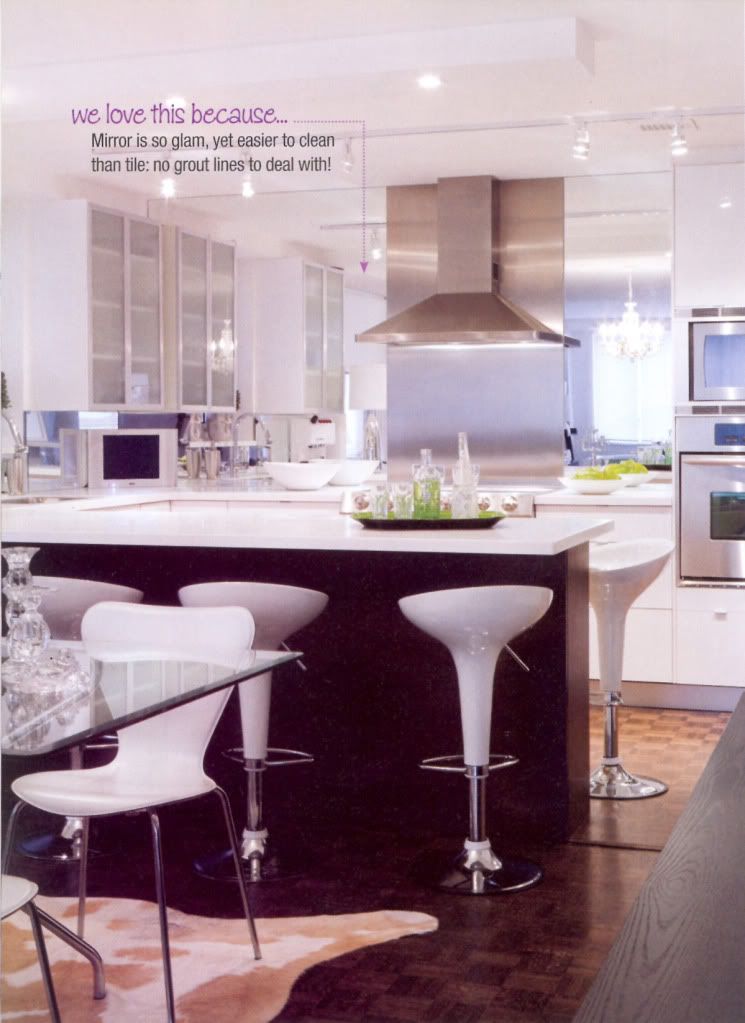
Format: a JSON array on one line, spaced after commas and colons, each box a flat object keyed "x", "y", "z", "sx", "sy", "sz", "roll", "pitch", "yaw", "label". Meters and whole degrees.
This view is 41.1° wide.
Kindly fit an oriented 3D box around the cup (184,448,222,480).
[{"x": -1.159, "y": -0.313, "z": 6.788, "sx": 0.202, "sy": 0.255, "sz": 0.244, "roll": -1, "pitch": -4, "yaw": 43, "label": "cup"}]

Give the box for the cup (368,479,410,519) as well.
[{"x": 0.058, "y": -0.032, "z": 3.299, "sx": 0.135, "sy": 0.103, "sz": 0.275, "roll": -1, "pitch": 3, "yaw": 0, "label": "cup"}]

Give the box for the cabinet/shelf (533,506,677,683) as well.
[{"x": 1.335, "y": 0.525, "z": 5.225, "sx": 0.554, "sy": 0.778, "sz": 0.515, "roll": -3, "pitch": -13, "yaw": 24, "label": "cabinet/shelf"}]

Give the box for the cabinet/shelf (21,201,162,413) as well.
[{"x": -1.713, "y": -1.225, "z": 6.167, "sx": 0.419, "sy": 1.293, "sz": 0.912, "roll": 2, "pitch": 8, "yaw": 15, "label": "cabinet/shelf"}]

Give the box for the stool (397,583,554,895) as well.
[{"x": 0.299, "y": 0.635, "z": 2.832, "sx": 0.392, "sy": 0.869, "sz": 0.284, "roll": -3, "pitch": 4, "yaw": -23, "label": "stool"}]

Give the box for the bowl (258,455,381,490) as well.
[{"x": -0.323, "y": -0.211, "z": 5.870, "sx": 0.716, "sy": 0.169, "sz": 0.391, "roll": -4, "pitch": 4, "yaw": -45, "label": "bowl"}]

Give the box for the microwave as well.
[{"x": -1.568, "y": -0.316, "z": 6.158, "sx": 0.535, "sy": 0.274, "sz": 0.398, "roll": -1, "pitch": 2, "yaw": -24, "label": "microwave"}]

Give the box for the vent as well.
[{"x": 0.529, "y": -1.457, "z": 5.841, "sx": 1.167, "sy": 0.910, "sz": 0.669, "roll": 2, "pitch": 13, "yaw": 17, "label": "vent"}]

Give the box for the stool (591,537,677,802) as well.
[{"x": 0.961, "y": 0.589, "z": 3.703, "sx": 0.310, "sy": 0.933, "sz": 0.483, "roll": -1, "pitch": 4, "yaw": 14, "label": "stool"}]

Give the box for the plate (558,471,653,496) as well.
[{"x": 1.238, "y": -0.162, "z": 5.369, "sx": 0.397, "sy": 0.127, "sz": 0.719, "roll": -1, "pitch": 3, "yaw": 13, "label": "plate"}]

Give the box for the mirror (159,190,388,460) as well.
[{"x": -0.781, "y": -1.392, "z": 7.370, "sx": 0.635, "sy": 1.802, "sz": 1.989, "roll": -1, "pitch": 0, "yaw": 22, "label": "mirror"}]
